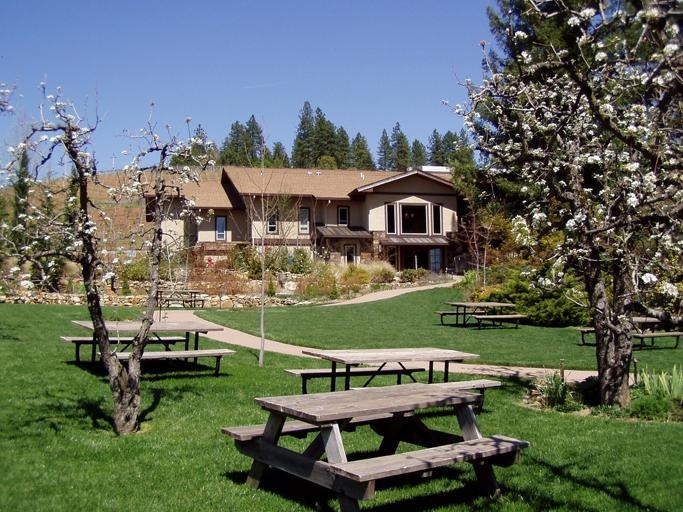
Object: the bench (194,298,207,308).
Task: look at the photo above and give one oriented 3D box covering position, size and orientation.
[{"bbox_3d":[-6.386,2.214,32.413,0.422,0.504,0.322,2,1,9],"label":"bench"}]
